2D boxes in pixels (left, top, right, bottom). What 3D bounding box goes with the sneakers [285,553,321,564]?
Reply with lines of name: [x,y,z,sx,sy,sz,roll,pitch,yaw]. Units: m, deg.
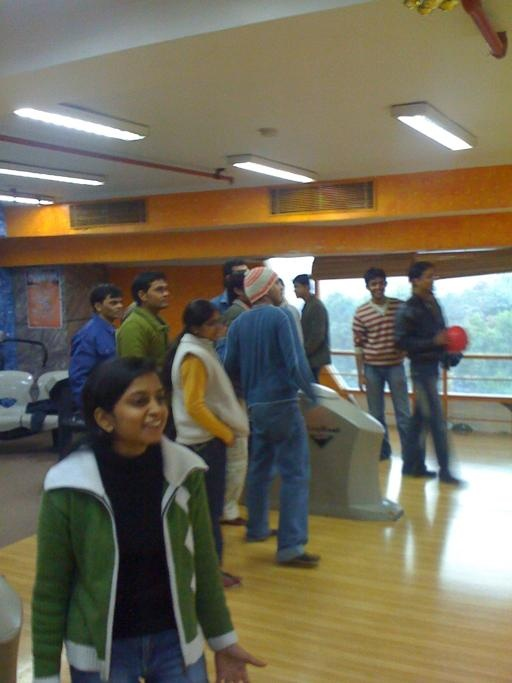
sneakers: [0.203,0.956,2.458,0.157,0.062,0.055,-3,-2,-1]

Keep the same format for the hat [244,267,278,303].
hat: [0.018,-0.241,2.380,0.148,0.152,0.085,-3,4,7]

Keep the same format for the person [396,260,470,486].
person: [0.860,0.217,2.776,0.309,1.196,0.615,-2,4,17]

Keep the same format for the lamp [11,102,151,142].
lamp: [-0.796,-0.972,2.483,0.336,0.072,0.594,0,4,35]
